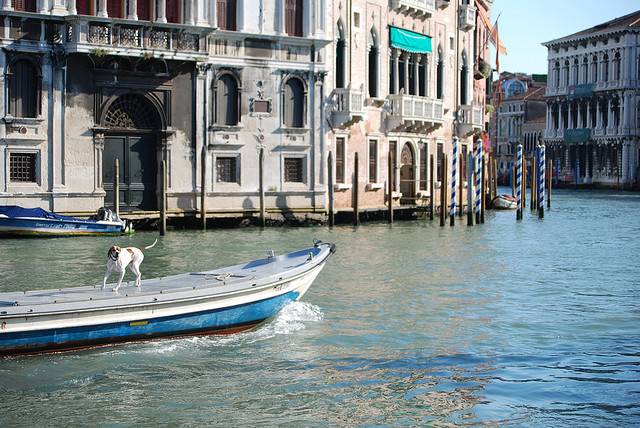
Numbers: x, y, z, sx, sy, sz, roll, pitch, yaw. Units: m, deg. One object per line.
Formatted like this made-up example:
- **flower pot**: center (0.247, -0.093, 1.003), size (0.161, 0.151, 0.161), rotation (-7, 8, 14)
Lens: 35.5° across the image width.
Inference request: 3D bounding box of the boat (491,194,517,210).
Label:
- **boat**: center (11.038, -0.716, 59.921), size (1.475, 0.780, 0.958), rotation (-1, 4, 5)
